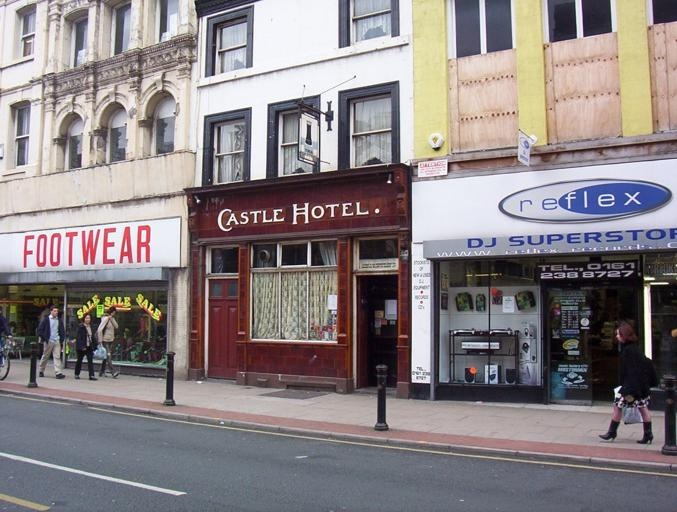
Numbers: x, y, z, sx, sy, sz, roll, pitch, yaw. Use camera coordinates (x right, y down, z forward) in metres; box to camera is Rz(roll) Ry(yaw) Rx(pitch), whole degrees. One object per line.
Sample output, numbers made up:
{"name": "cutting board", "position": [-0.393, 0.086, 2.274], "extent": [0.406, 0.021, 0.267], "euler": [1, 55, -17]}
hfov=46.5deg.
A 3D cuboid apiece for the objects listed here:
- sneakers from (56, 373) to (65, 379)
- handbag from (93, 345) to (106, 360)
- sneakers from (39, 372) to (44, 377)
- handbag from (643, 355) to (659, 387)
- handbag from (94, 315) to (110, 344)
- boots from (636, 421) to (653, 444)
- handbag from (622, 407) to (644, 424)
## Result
{"name": "sneakers", "position": [-8.207, 3.607, 23.444], "extent": [0.251, 0.159, 0.362], "euler": [-5, -9, 25]}
{"name": "handbag", "position": [-7.286, 2.966, 24.083], "extent": [0.329, 0.420, 0.243], "euler": [-11, -19, 21]}
{"name": "sneakers", "position": [-8.980, 3.632, 23.825], "extent": [0.124, 0.150, 0.131], "euler": [-2, -8, 14]}
{"name": "handbag", "position": [6.319, 2.382, 15.915], "extent": [0.180, 0.616, 0.910], "euler": [-5, -8, 23]}
{"name": "handbag", "position": [-7.288, 2.272, 24.273], "extent": [0.288, 0.869, 0.614], "euler": [7, -5, -7]}
{"name": "boots", "position": [6.142, 3.563, 15.775], "extent": [0.276, 0.435, 0.427], "euler": [-4, -8, 21]}
{"name": "handbag", "position": [5.855, 3.203, 15.665], "extent": [0.339, 0.333, 0.342], "euler": [-5, -8, 23]}
